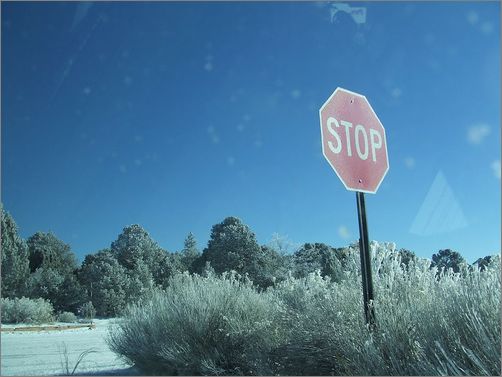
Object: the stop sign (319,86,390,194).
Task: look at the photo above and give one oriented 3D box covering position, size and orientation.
[{"bbox_3d":[1.124,-0.502,4.492,1.004,1.548,0.096,3,-20,-28],"label":"stop sign"}]
